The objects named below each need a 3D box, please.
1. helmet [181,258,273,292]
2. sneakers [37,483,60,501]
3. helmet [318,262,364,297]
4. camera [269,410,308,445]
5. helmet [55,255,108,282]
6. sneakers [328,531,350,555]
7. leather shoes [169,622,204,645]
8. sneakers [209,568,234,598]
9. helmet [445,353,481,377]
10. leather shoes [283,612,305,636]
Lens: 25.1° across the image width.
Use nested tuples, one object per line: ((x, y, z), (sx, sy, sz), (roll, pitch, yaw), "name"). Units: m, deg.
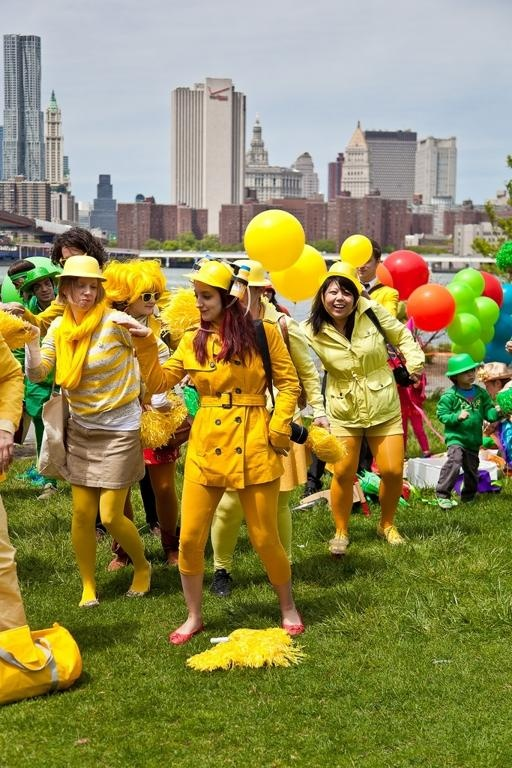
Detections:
((-0.109, -0.549, 4.791), (0.193, 0.080, 0.265), (22, 8, 22), "helmet")
((-1.469, 0.707, 8.070), (0.060, 0.075, 0.192), (37, 24, -13), "sneakers")
((0.444, -0.662, 5.929), (0.179, 0.106, 0.196), (20, -16, 18), "helmet")
((0.164, 0.158, 5.275), (0.138, 0.086, 0.224), (-10, 27, -39), "camera")
((-0.797, -0.641, 5.240), (0.262, 0.097, 0.246), (0, 0, -13), "helmet")
((0.447, 0.847, 6.260), (0.098, 0.107, 0.249), (-1, -15, 4), "sneakers")
((-0.315, 1.094, 4.986), (0.106, 0.057, 0.164), (3, 11, 22), "leather shoes")
((-0.177, 0.987, 5.702), (0.141, 0.127, 0.353), (0, -1, -5), "sneakers")
((1.333, -0.229, 7.612), (0.186, 0.088, 0.182), (-20, -1, -12), "helmet")
((0.157, 1.058, 5.042), (0.099, 0.095, 0.134), (-1, 10, 1), "leather shoes")
